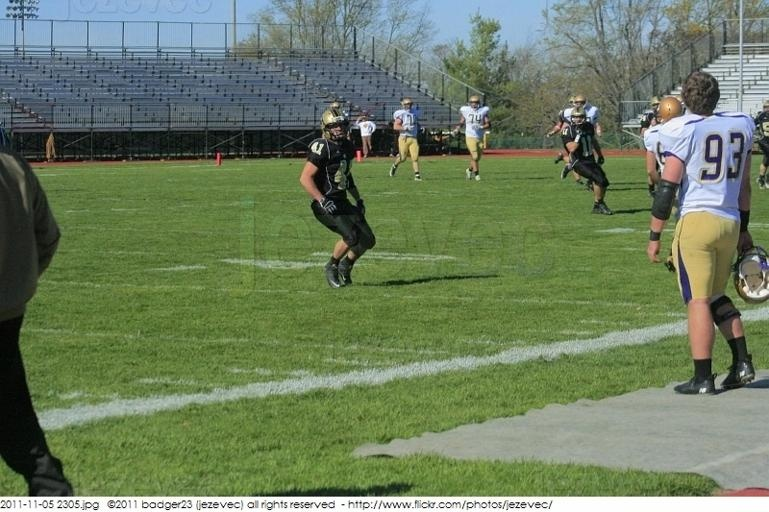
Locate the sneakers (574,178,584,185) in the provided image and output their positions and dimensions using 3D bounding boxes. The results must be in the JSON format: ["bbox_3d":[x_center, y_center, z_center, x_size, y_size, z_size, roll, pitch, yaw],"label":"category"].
[{"bbox_3d":[4.634,-1.738,21.830,0.194,0.081,0.189,15,-11,47],"label":"sneakers"}]

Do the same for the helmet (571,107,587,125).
[{"bbox_3d":[3.507,-2.481,16.575,0.261,0.302,0.222,4,11,20],"label":"helmet"}]

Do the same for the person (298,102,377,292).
[{"bbox_3d":[-0.507,-0.628,9.919,0.772,1.873,0.814,0,10,-1],"label":"person"}]

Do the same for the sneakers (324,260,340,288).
[{"bbox_3d":[-0.554,0.206,9.866,0.105,0.264,0.176,-10,-18,-45],"label":"sneakers"}]

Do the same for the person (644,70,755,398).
[{"bbox_3d":[2.405,-0.185,6.748,0.883,2.252,0.793,-2,10,-10],"label":"person"}]

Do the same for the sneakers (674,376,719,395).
[{"bbox_3d":[2.223,0.925,6.592,0.320,0.132,0.118,0,-2,12],"label":"sneakers"}]

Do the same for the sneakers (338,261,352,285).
[{"bbox_3d":[-0.410,0.177,9.969,0.138,0.300,0.103,-2,12,24],"label":"sneakers"}]

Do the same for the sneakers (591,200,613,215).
[{"bbox_3d":[3.775,-0.817,15.880,0.345,0.224,0.266,2,11,12],"label":"sneakers"}]

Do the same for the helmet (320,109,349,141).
[{"bbox_3d":[-0.526,-1.386,9.857,0.284,0.334,0.316,-1,10,-3],"label":"helmet"}]
